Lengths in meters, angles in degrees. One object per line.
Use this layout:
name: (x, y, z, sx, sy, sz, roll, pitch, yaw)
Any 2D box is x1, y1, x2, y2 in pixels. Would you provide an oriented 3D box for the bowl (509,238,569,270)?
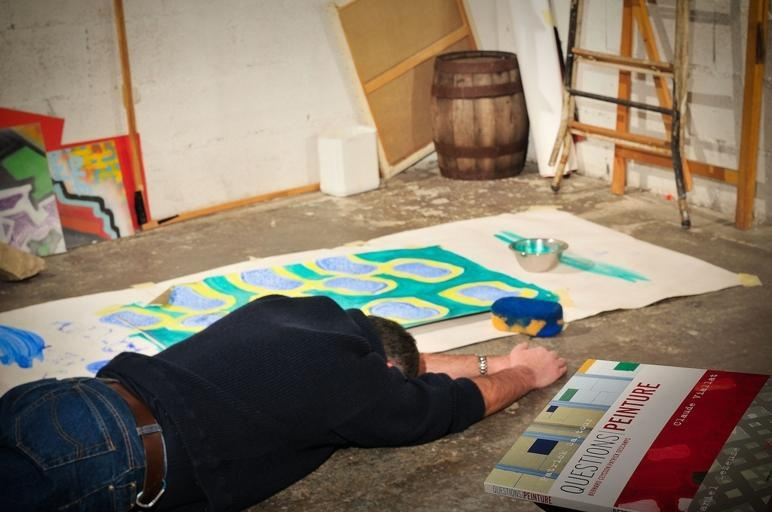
bowl: (0.967, 0.000, 3.700, 0.314, 0.167, 0.297, -4, 20, 1)

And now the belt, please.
belt: (-0.802, 0.607, 1.853, 0.099, 0.291, 0.338, -9, 34, -41)

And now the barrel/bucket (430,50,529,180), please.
barrel/bucket: (0.845, -1.278, 5.442, 0.993, 0.920, 0.912, -4, 18, 1)
